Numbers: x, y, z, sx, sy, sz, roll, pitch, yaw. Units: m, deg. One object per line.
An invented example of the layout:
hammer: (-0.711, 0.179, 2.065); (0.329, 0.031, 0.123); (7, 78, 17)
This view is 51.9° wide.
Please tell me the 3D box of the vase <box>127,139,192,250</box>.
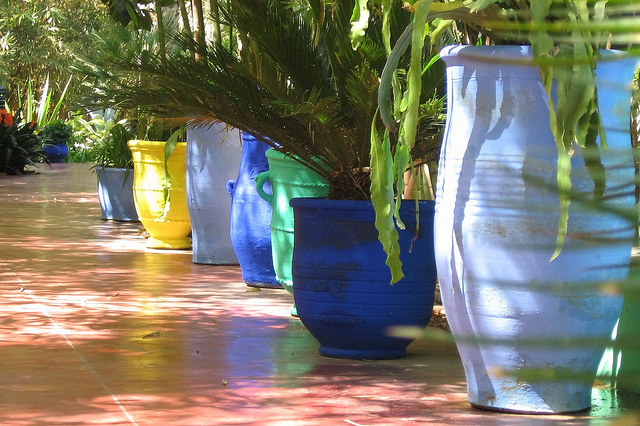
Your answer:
vase: (-1.466, -0.165, 6.339); (0.848, 1.076, 0.377); (3, 8, 42)

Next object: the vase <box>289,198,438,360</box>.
vase: (0.173, 0.385, 3.398); (0.920, 0.792, 0.838); (-1, -9, -14)

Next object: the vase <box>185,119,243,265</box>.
vase: (-0.866, -0.154, 5.852); (0.728, 1.208, 0.717); (-1, -1, -33)

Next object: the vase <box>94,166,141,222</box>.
vase: (-2.564, -0.227, 8.400); (0.685, 0.503, 0.705); (0, 2, -17)

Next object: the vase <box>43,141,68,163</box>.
vase: (-7.920, -1.811, 19.845); (0.566, 0.435, 0.546); (0, -2, -6)
